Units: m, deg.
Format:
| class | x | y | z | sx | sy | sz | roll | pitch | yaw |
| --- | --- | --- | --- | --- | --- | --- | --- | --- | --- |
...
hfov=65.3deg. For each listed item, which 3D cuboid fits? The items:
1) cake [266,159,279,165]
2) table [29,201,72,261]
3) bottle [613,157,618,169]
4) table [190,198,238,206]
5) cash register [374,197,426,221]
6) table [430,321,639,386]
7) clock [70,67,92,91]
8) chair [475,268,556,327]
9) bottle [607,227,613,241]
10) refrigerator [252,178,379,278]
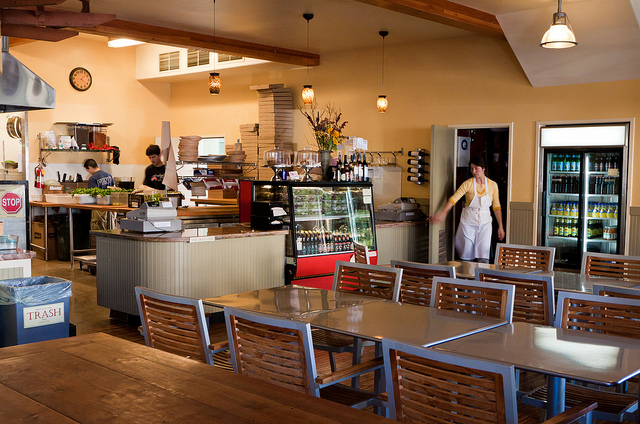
| class | x | y | z | sx | sy | sz | roll | pitch | yaw |
| --- | --- | --- | --- | --- | --- | --- | --- | --- | --- |
| cake | -0.668 | -0.705 | 7.001 | 0.182 | 0.073 | 0.045 | 1 | 5 | 22 |
| table | -5.695 | 0.358 | 10.800 | 0.761 | 1.315 | 0.990 | -7 | 11 | -45 |
| bottle | 4.629 | -0.769 | 7.841 | 0.055 | 0.176 | 0.125 | 0 | 5 | 19 |
| table | -1.987 | -0.194 | 9.591 | 1.310 | 0.155 | 0.458 | 3 | 7 | 45 |
| cash register | 1.432 | -0.046 | 8.672 | 0.641 | 0.254 | 0.409 | 2 | -3 | -44 |
| table | 1.356 | 0.817 | 3.076 | 1.059 | 0.077 | 0.861 | 1 | 6 | 28 |
| clock | -5.818 | -3.246 | 12.150 | 0.471 | 0.540 | 0.050 | -6 | 7 | -44 |
| chair | 1.696 | 0.668 | 4.392 | 0.482 | 0.679 | 0.444 | -7 | 8 | -44 |
| bottle | 4.563 | 0.349 | 7.880 | 0.070 | 0.201 | 0.113 | 1 | 5 | 28 |
| refrigerator | -0.083 | 0.352 | 7.315 | 0.796 | 1.509 | 1.666 | -6 | -4 | 42 |
